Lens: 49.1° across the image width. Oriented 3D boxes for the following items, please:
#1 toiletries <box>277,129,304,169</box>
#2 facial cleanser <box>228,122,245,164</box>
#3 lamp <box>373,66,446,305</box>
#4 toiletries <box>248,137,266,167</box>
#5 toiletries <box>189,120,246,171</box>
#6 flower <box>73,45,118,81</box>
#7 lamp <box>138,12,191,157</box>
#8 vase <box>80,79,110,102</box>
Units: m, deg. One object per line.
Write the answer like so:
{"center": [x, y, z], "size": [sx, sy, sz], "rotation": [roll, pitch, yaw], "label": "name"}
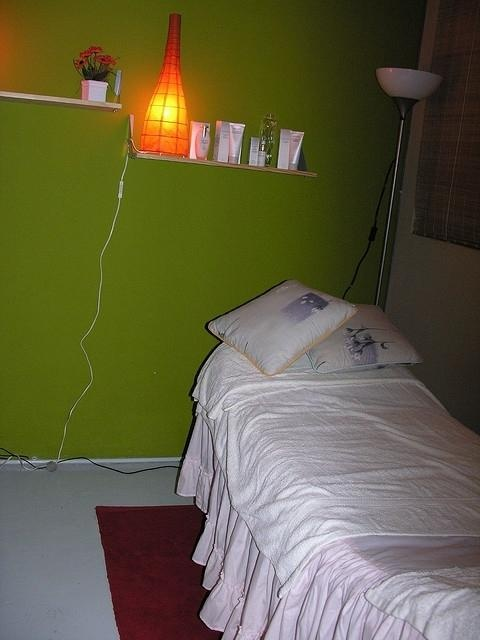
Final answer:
{"center": [0.231, -0.781, 2.421], "size": [0.099, 0.184, 0.272], "rotation": [8, 13, 14], "label": "toiletries"}
{"center": [-0.019, -0.786, 2.334], "size": [0.079, 0.183, 0.056], "rotation": [-1, 44, -9], "label": "facial cleanser"}
{"center": [0.711, -0.566, 2.480], "size": [0.268, 1.092, 0.580], "rotation": [6, 11, 11], "label": "lamp"}
{"center": [0.081, -0.771, 2.392], "size": [0.082, 0.123, 0.066], "rotation": [0, 12, -22], "label": "toiletries"}
{"center": [-0.105, -0.777, 2.307], "size": [0.186, 0.215, 0.084], "rotation": [4, 9, -15], "label": "toiletries"}
{"center": [-0.587, -1.026, 2.102], "size": [0.171, 0.127, 0.195], "rotation": [4, 13, -12], "label": "flower"}
{"center": [-0.294, -0.967, 2.149], "size": [0.169, 0.562, 0.115], "rotation": [2, 11, -13], "label": "lamp"}
{"center": [-0.580, -0.922, 2.120], "size": [0.089, 0.105, 0.104], "rotation": [19, 28, -1], "label": "vase"}
